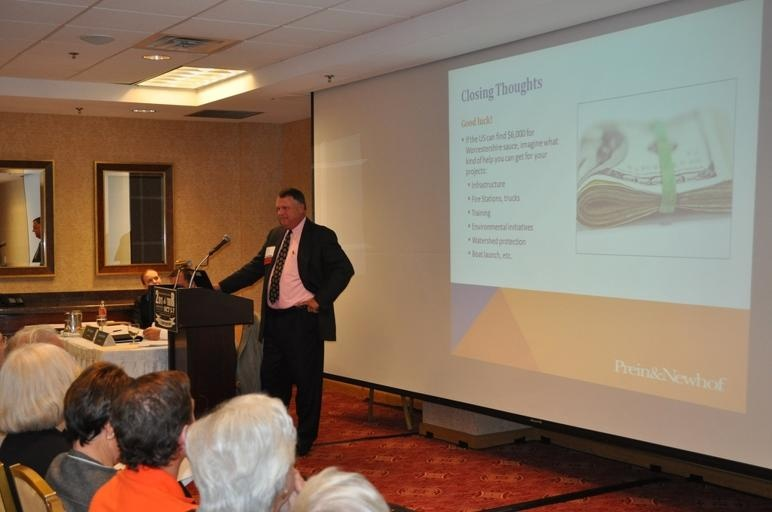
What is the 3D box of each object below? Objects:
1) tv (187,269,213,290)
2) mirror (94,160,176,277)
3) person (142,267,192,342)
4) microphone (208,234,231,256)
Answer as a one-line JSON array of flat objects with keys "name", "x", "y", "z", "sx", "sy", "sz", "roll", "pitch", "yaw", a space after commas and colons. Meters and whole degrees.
[{"name": "tv", "x": -1.507, "y": 0.195, "z": 4.604, "sx": 0.184, "sy": 0.154, "sz": 0.340, "roll": -3, "pitch": 4, "yaw": -20}, {"name": "mirror", "x": -3.511, "y": -0.527, "z": 7.905, "sx": 0.991, "sy": 1.537, "sz": 0.092, "roll": -3, "pitch": 4, "yaw": -25}, {"name": "person", "x": -2.496, "y": 0.709, "z": 6.283, "sx": 0.380, "sy": 1.088, "sz": 0.345, "roll": -16, "pitch": 5, "yaw": -15}, {"name": "microphone", "x": -2.107, "y": -0.143, "z": 7.121, "sx": 0.107, "sy": 0.356, "sz": 0.083, "roll": 33, "pitch": -22, "yaw": 24}]
